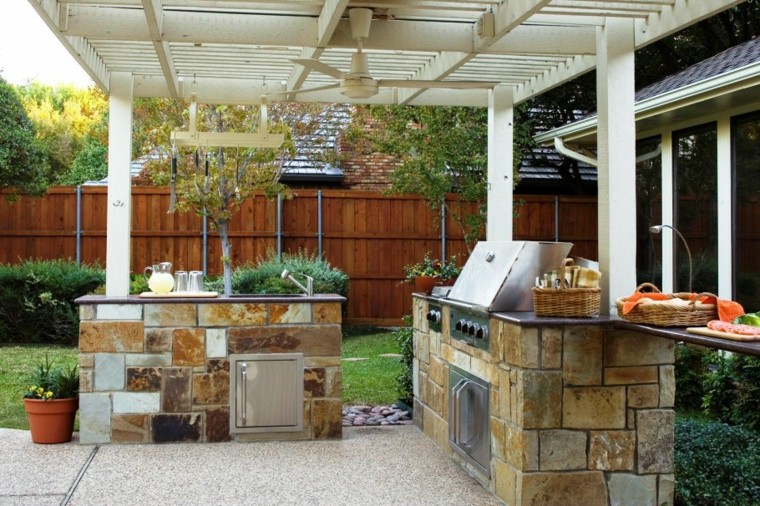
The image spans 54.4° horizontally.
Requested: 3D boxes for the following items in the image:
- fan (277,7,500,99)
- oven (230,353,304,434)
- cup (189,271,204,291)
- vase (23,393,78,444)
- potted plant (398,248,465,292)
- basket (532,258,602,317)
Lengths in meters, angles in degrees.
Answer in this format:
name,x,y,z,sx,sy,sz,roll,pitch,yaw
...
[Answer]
name,x,y,z,sx,sy,sz,roll,pitch,yaw
fan,-0.160,-1.742,7.054,1.011,0.476,1.101,-2,5,-31
oven,-1.107,1.358,7.410,0.705,0.811,0.321,1,7,-3
cup,-1.851,0.283,7.654,0.168,0.212,0.180,0,-2,0
vase,-3.107,1.643,7.421,0.455,0.428,0.591,1,-3,-7
potted plant,0.546,0.249,9.142,0.696,0.546,0.734,0,2,31
basket,1.551,0.283,6.263,0.634,0.470,0.423,-2,1,-5
